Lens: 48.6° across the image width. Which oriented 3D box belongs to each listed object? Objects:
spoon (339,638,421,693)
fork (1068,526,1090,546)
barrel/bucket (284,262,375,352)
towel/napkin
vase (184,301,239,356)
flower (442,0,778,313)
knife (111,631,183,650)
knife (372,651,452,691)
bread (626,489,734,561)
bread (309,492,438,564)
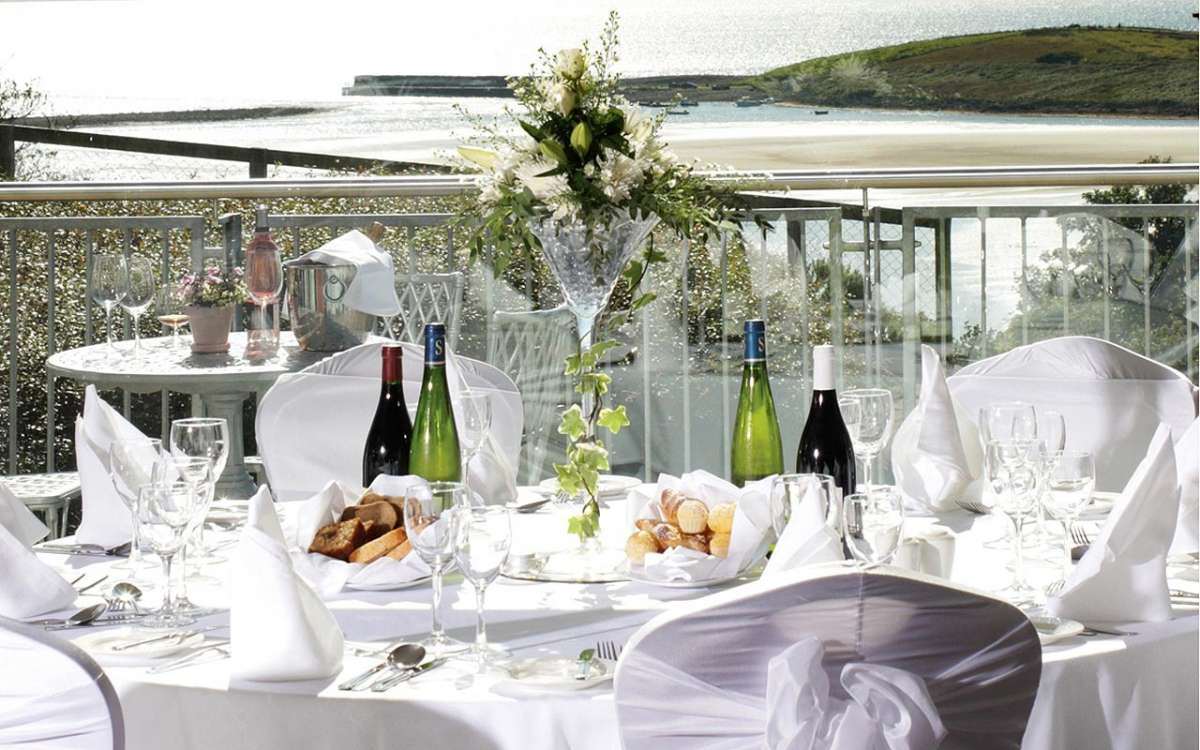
[{"bbox_3d":[-0.327,0.453,2.003,0.045,0.021,0.153,31,22,17],"label":"spoon"},{"bbox_3d":[0.878,0.292,2.417,0.026,0.010,0.054,-3,21,7],"label":"fork"},{"bbox_3d":[-0.841,-0.193,4.151,0.236,0.247,0.287,1,1,-3],"label":"barrel/bucket"},{"bbox_3d":[-0.772,-0.317,4.139,0.280,0.143,0.219,26,23,21],"label":"towel/napkin"},{"bbox_3d":[-1.182,-0.137,4.024,0.138,0.146,0.142,0,3,-10],"label":"vase"},{"bbox_3d":[0.008,-0.416,2.611,0.533,0.695,0.540,2,13,3],"label":"flower"},{"bbox_3d":[-0.703,0.417,2.062,0.083,0.014,0.016,-3,15,-23],"label":"knife"},{"bbox_3d":[-0.282,0.439,2.019,0.035,0.021,0.191,40,23,24],"label":"knife"},{"bbox_3d":[0.140,0.264,2.264,0.125,0.056,0.133,3,28,15],"label":"bread"},{"bbox_3d":[-0.405,0.272,2.272,0.128,0.051,0.136,-11,41,1],"label":"bread"}]
